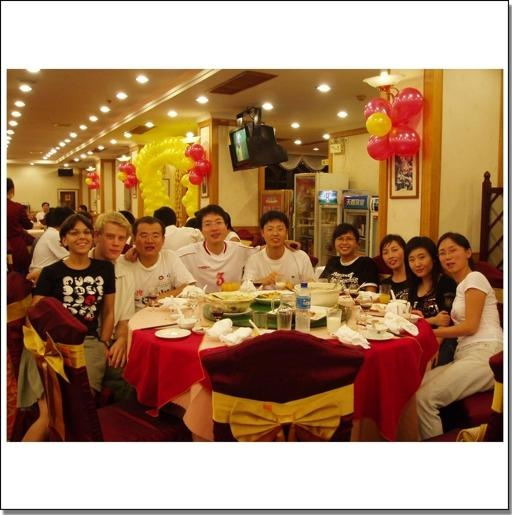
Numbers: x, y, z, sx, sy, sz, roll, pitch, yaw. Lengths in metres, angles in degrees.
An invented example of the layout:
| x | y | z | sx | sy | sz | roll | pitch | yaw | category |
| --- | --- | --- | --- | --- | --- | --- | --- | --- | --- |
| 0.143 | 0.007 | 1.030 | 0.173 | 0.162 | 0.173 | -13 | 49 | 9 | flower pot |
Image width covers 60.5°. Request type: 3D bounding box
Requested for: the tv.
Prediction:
| x | y | z | sx | sy | sz | roll | pitch | yaw | category |
| --- | --- | --- | --- | --- | --- | --- | --- | --- | --- |
| 0.042 | -1.576 | 7.093 | 0.736 | 0.809 | 1.020 | -3 | -1 | -26 | tv |

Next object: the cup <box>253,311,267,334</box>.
| x | y | z | sx | sy | sz | roll | pitch | yaw | category |
| --- | --- | --- | --- | --- | --- | --- | --- | --- | --- |
| 0.017 | 0.287 | 1.984 | 0.053 | 0.083 | 0.082 | -4 | 6 | 3 | cup |

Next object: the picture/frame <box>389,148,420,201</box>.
| x | y | z | sx | sy | sz | roll | pitch | yaw | category |
| --- | --- | --- | --- | --- | --- | --- | --- | --- | --- |
| 1.577 | -0.880 | 4.627 | 0.031 | 0.747 | 0.509 | 0 | 0 | -26 | picture/frame |

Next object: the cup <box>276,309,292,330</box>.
| x | y | z | sx | sy | sz | roll | pitch | yaw | category |
| --- | --- | --- | --- | --- | --- | --- | --- | --- | --- |
| 0.119 | 0.276 | 1.966 | 0.078 | 0.085 | 0.077 | 0 | -7 | 0 | cup |

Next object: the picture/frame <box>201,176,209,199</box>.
| x | y | z | sx | sy | sz | roll | pitch | yaw | category |
| --- | --- | --- | --- | --- | --- | --- | --- | --- | --- |
| -0.996 | -1.348 | 8.471 | 0.037 | 0.551 | 0.381 | 0 | 1 | -25 | picture/frame |

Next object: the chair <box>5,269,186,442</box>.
| x | y | z | sx | sy | sz | roll | pitch | yaw | category |
| --- | --- | --- | --- | --- | --- | --- | --- | --- | --- |
| -0.719 | 0.422 | 2.050 | 0.569 | 0.882 | 0.709 | 10 | 12 | 43 | chair |
